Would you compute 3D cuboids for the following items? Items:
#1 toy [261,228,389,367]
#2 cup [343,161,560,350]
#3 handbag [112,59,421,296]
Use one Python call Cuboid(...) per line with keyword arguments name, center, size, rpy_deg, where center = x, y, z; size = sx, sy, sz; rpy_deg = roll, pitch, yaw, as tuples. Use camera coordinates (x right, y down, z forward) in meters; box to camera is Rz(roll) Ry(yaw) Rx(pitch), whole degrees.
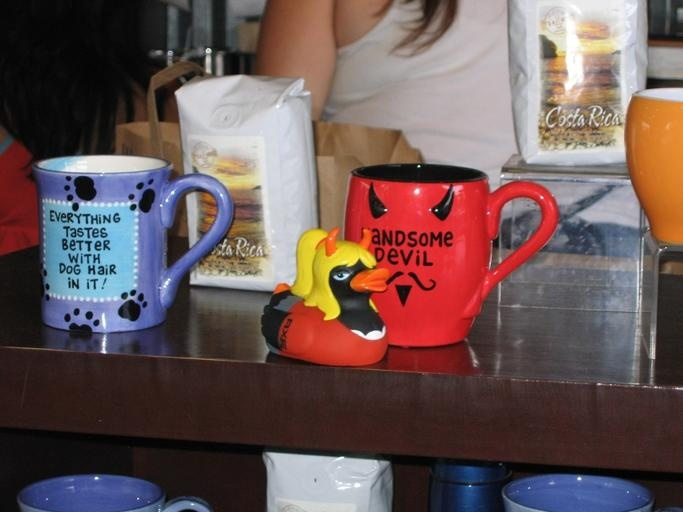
Cuboid(name="toy", center=(-0.008, 0.042, 0.707), size=(0.133, 0.128, 0.091), rpy_deg=(4, 5, 24))
Cuboid(name="cup", center=(0.090, -0.003, 0.673), size=(0.212, 0.175, 0.134), rpy_deg=(0, 8, 1))
Cuboid(name="handbag", center=(-0.092, -0.125, 0.935), size=(0.373, 0.271, 0.227), rpy_deg=(-8, 15, -30))
